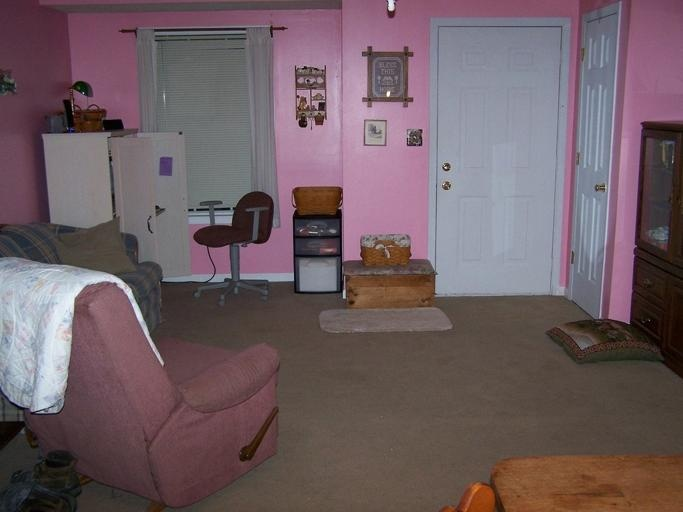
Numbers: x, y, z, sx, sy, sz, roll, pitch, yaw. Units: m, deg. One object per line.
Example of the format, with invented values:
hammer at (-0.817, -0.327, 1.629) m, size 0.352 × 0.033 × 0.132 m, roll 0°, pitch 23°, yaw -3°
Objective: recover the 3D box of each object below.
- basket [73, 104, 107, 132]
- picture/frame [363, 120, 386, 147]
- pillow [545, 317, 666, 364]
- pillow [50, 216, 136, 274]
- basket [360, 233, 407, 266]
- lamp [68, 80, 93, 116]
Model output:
basket at (-2.366, -1.274, 5.227) m, size 0.283 × 0.208 × 0.253 m, roll -7°, pitch 15°, yaw -24°
picture/frame at (0.330, -1.223, 5.465) m, size 0.236 × 0.281 × 0.019 m, roll 0°, pitch 10°, yaw -4°
pillow at (2.014, 0.652, 4.235) m, size 0.402 × 0.134 × 0.381 m, roll -6°, pitch 14°, yaw -5°
pillow at (-1.943, -0.098, 4.360) m, size 0.440 × 0.460 × 0.138 m, roll -15°, pitch -13°, yaw -30°
basket at (0.432, -0.049, 5.545) m, size 0.416 × 0.260 × 0.317 m, roll 0°, pitch 0°, yaw 3°
lamp at (-2.494, -1.519, 5.325) m, size 0.218 × 0.297 × 0.211 m, roll 5°, pitch 20°, yaw -11°
